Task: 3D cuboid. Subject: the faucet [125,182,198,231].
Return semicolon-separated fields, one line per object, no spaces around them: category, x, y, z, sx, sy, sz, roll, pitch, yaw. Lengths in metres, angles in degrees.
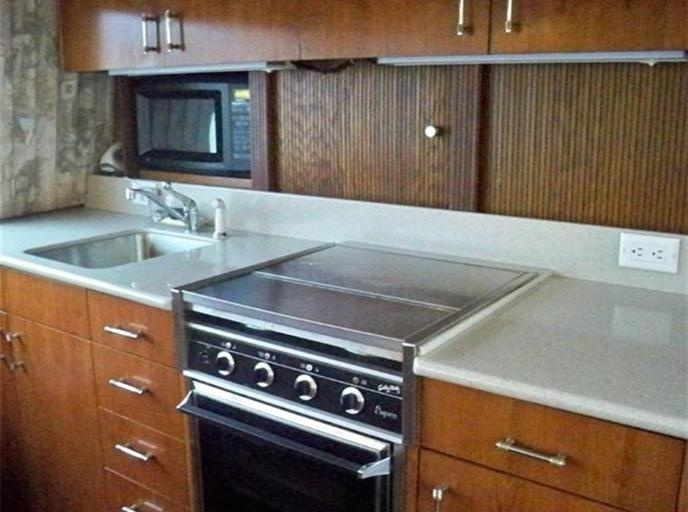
faucet;-0.755;-0.216;2.604;0.367;0.190;0.192;4;11;13

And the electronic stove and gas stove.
electronic stove and gas stove;-0.652;-0.552;2.646;0.656;0.415;0.087;10;14;36
